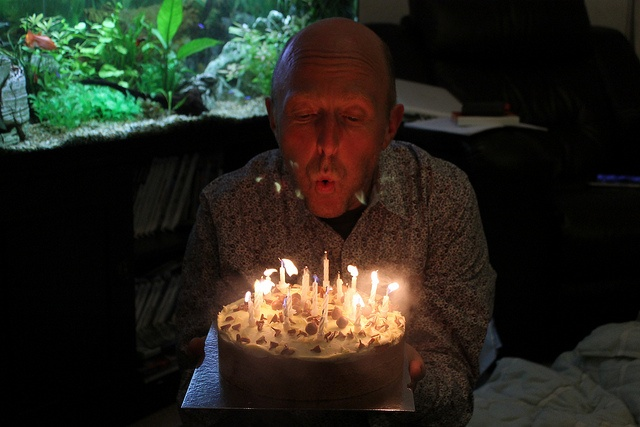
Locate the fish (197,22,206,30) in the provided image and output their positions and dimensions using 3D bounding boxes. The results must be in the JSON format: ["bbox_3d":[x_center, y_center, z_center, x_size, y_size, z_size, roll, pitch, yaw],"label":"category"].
[{"bbox_3d":[-1.118,-1.800,5.691,0.049,0.050,0.014,-1,33,-44],"label":"fish"}]

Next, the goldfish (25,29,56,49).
[{"bbox_3d":[-2.130,-1.327,4.523,0.200,0.109,0.062,21,43,-8],"label":"goldfish"}]

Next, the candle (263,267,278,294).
[{"bbox_3d":[-0.283,0.384,3.385,0.059,0.044,0.106,-10,25,6],"label":"candle"}]
